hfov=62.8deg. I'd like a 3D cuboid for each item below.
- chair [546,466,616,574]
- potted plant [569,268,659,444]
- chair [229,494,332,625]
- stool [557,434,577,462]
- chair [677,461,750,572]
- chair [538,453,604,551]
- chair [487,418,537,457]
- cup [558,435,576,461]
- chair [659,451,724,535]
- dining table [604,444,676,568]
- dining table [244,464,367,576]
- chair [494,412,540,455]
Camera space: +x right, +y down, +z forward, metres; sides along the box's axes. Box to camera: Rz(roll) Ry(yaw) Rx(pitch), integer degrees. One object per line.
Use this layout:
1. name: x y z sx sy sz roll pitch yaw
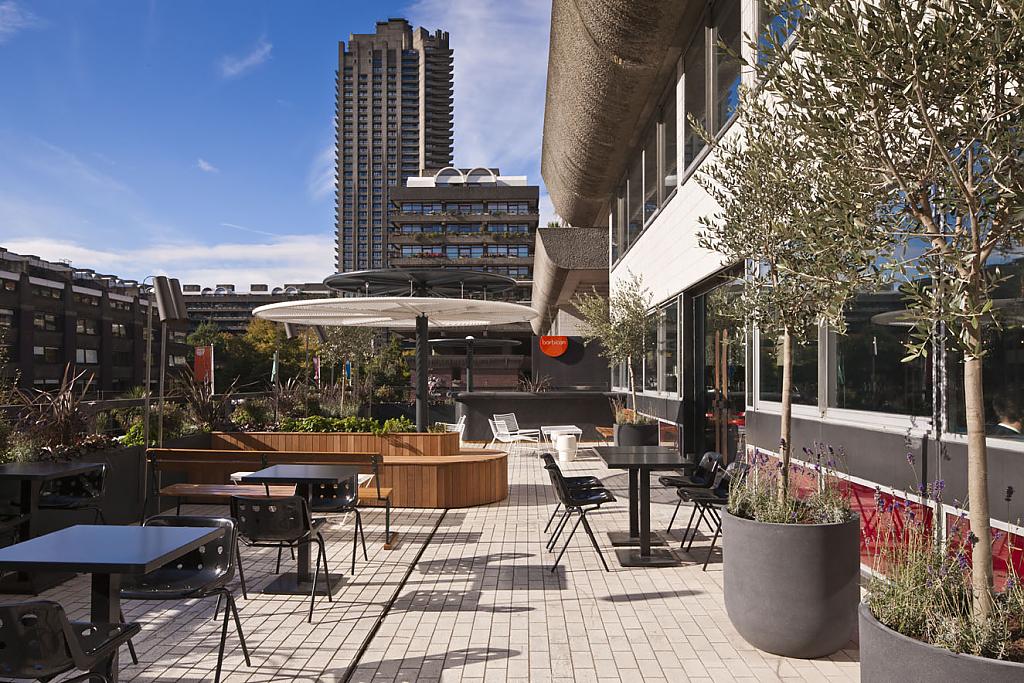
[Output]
1. chair: 0.736 1.847 9.599 0.711 1.122 1.545 0 2 -1
2. potted plant: 2.108 0.092 17.427 1.321 2.893 3.045 1 5 4
3. chair: -2.078 1.846 7.870 0.806 1.587 1.025 1 5 4
4. stool: 1.039 2.113 16.838 0.415 0.479 0.418 -5 -4 33
5. chair: 2.289 1.835 9.293 0.920 1.443 0.923 1 -4 -12
6. chair: 0.734 1.682 9.502 0.909 1.224 0.850 -4 -2 -1
7. chair: -0.052 2.172 19.402 0.808 0.751 0.758 4 1 25
8. cup: 1.152 2.123 16.939 0.412 0.471 0.412 -1 -4 0
9. chair: 2.122 1.748 9.522 0.507 0.784 0.513 -12 5 -8
10. dining table: 1.368 1.722 9.138 0.874 1.114 1.260 1 5 6
11. dining table: -2.124 1.667 8.497 1.062 1.097 1.123 -1 -6 4
12. chair: -0.004 2.028 19.330 0.684 0.709 1.037 -1 -4 11
